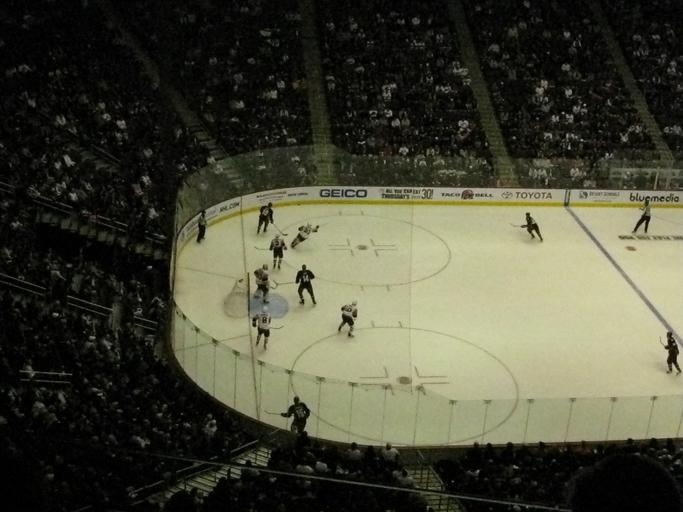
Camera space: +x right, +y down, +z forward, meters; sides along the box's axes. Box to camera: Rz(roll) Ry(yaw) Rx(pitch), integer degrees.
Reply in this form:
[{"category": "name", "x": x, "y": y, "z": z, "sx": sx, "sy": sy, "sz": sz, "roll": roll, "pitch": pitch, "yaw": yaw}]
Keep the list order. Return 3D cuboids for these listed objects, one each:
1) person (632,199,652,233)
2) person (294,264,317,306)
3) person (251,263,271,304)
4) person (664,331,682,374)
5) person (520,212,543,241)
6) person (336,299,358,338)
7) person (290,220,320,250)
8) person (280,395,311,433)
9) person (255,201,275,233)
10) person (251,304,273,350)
[{"category": "person", "x": 11.868, "y": -1.579, "z": 26.521, "sx": 0.638, "sy": 1.406, "sz": 1.333, "roll": -4, "pitch": -4, "yaw": 23}, {"category": "person", "x": -1.082, "y": 0.844, "z": 20.414, "sx": 0.565, "sy": 1.259, "sz": 0.419, "roll": -5, "pitch": 22, "yaw": -3}, {"category": "person", "x": -2.425, "y": 0.844, "z": 20.483, "sx": 0.419, "sy": 1.233, "sz": 1.395, "roll": -2, "pitch": -3, "yaw": -7}, {"category": "person", "x": 9.340, "y": 2.709, "z": 18.953, "sx": 0.379, "sy": 1.149, "sz": 1.631, "roll": -4, "pitch": -4, "yaw": 26}, {"category": "person", "x": 7.231, "y": -1.062, "z": 25.431, "sx": 0.722, "sy": 1.077, "sz": 1.299, "roll": -3, "pitch": -4, "yaw": 16}, {"category": "person", "x": 0.221, "y": 1.756, "z": 19.109, "sx": 0.529, "sy": 1.058, "sz": 0.441, "roll": 19, "pitch": 24, "yaw": 11}, {"category": "person", "x": -1.328, "y": -0.710, "z": 24.469, "sx": 0.901, "sy": 0.409, "sz": 1.429, "roll": 12, "pitch": -42, "yaw": -37}, {"category": "person", "x": -1.014, "y": 3.577, "z": 14.901, "sx": 0.630, "sy": 0.966, "sz": 0.414, "roll": 4, "pitch": 19, "yaw": 4}, {"category": "person", "x": -2.807, "y": -1.413, "z": 24.654, "sx": 0.585, "sy": 1.170, "sz": 1.576, "roll": -2, "pitch": -3, "yaw": -7}, {"category": "person", "x": -2.198, "y": 2.019, "z": 18.556, "sx": 0.477, "sy": 1.176, "sz": 1.359, "roll": -2, "pitch": -3, "yaw": -8}]
